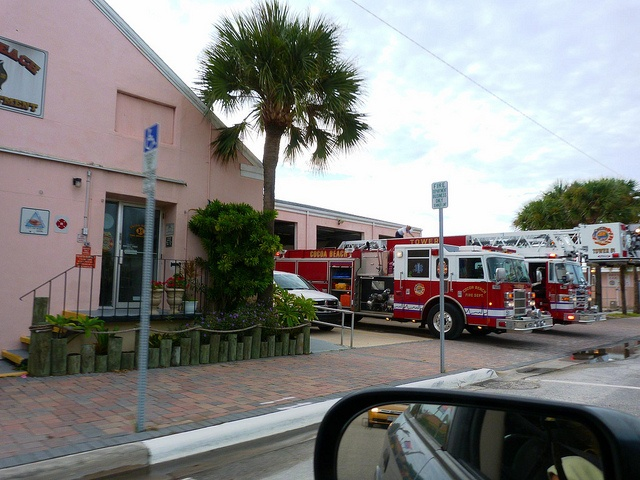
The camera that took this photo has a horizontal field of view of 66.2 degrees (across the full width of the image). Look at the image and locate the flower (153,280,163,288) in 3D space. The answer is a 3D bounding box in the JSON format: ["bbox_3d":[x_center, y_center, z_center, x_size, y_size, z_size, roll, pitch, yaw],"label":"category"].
[{"bbox_3d":[-3.495,0.960,10.579,0.175,0.097,0.173,1,-4,-12],"label":"flower"}]

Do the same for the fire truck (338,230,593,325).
[{"bbox_3d":[5.133,1.198,21.068,11.613,3.859,4.020,-5,-5,37],"label":"fire truck"}]

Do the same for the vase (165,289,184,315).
[{"bbox_3d":[-3.111,1.342,10.544,0.531,0.595,0.496,2,-11,-11],"label":"vase"}]

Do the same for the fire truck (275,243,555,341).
[{"bbox_3d":[2.145,1.486,18.670,3.616,3.436,11.909,1,-1,-42],"label":"fire truck"}]

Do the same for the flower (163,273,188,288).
[{"bbox_3d":[-3.075,0.892,10.587,0.340,0.296,0.352,4,-6,-4],"label":"flower"}]

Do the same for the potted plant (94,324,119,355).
[{"bbox_3d":[-3.761,1.740,8.669,0.380,0.337,1.215,-6,-2,-24],"label":"potted plant"}]

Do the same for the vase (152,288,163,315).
[{"bbox_3d":[-3.458,1.304,10.478,0.247,0.371,0.835,-6,-2,-18],"label":"vase"}]

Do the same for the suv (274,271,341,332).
[{"bbox_3d":[-0.429,1.771,15.751,1.961,2.117,1.909,4,1,-38],"label":"suv"}]

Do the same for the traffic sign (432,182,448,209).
[{"bbox_3d":[2.181,-0.811,8.988,0.182,0.488,0.320,-5,-3,-44],"label":"traffic sign"}]

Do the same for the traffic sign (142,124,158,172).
[{"bbox_3d":[-2.050,-1.129,5.962,0.205,0.453,0.433,-6,-2,-19],"label":"traffic sign"}]
